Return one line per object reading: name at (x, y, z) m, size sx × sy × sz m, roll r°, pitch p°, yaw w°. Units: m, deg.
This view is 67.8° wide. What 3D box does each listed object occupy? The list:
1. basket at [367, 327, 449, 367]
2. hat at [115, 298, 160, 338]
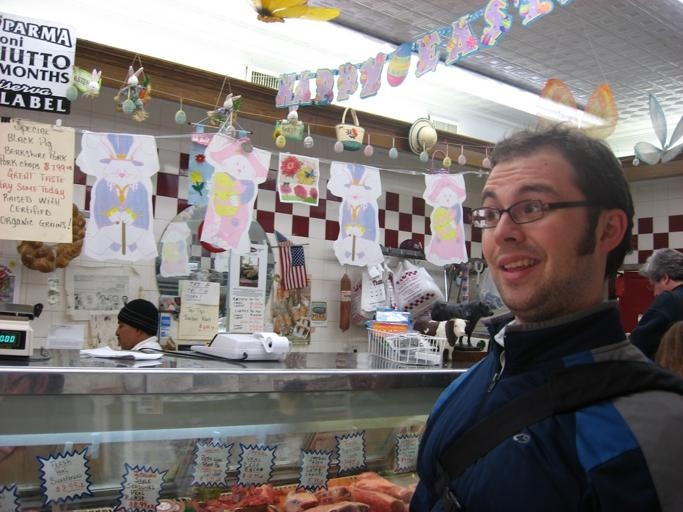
basket at (0.323, 0.438, 2.622) m, size 0.215 × 0.110 × 0.320 m, roll 5°, pitch -2°, yaw -26°
hat at (-1.294, 0.390, 3.246) m, size 0.230 × 0.231 × 0.111 m, roll 3°, pitch -6°, yaw -24°
